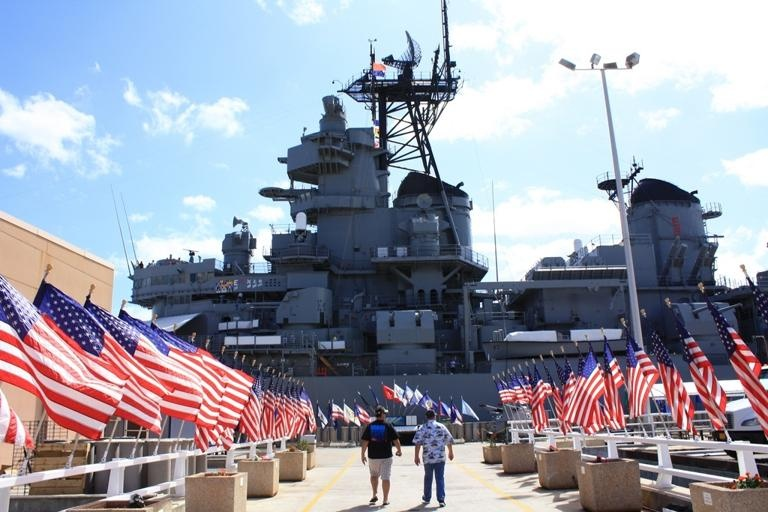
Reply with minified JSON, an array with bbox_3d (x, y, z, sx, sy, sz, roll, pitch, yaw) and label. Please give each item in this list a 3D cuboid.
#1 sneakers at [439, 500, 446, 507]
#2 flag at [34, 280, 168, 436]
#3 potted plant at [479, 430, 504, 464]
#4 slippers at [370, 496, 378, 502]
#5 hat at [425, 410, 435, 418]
[{"bbox_3d":[1.234,5.146,15.449,0.122,0.108,0.279,-16,-21,29],"label":"sneakers"},{"bbox_3d":[-5.045,1.973,13.851,2.723,0.158,3.085,16,-60,-20],"label":"flag"},{"bbox_3d":[3.195,5.587,21.858,0.514,0.905,0.561,-3,-6,-10],"label":"potted plant"},{"bbox_3d":[-0.224,5.159,15.794,0.139,0.147,0.092,-5,-8,11],"label":"slippers"},{"bbox_3d":[0.989,3.377,15.994,0.144,0.195,0.192,3,6,-1],"label":"hat"}]
